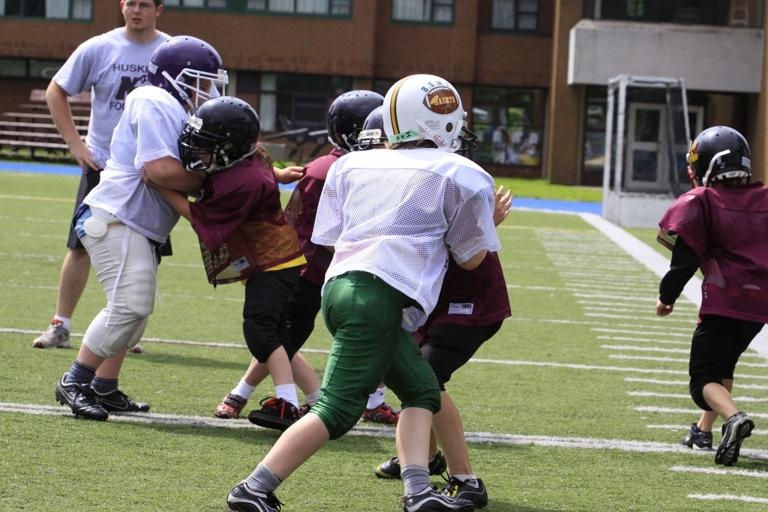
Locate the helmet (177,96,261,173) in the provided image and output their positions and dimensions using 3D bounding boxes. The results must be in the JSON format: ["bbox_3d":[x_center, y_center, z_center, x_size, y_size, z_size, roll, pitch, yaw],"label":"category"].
[{"bbox_3d":[-1.124,-0.869,7.368,0.611,0.451,0.441,-16,30,-43],"label":"helmet"}]

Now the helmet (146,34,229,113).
[{"bbox_3d":[-1.424,-1.333,7.744,0.620,0.484,0.470,3,18,-23],"label":"helmet"}]

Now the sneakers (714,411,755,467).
[{"bbox_3d":[2.347,1.234,7.234,0.208,0.386,0.128,7,13,17],"label":"sneakers"}]

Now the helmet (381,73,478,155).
[{"bbox_3d":[0.285,-0.912,6.810,0.499,0.474,0.692,6,10,37],"label":"helmet"}]

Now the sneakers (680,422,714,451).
[{"bbox_3d":[2.199,1.283,7.536,0.117,0.124,0.247,2,1,5],"label":"sneakers"}]

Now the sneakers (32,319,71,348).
[{"bbox_3d":[-2.662,0.643,8.744,0.326,0.203,0.175,5,-5,-30],"label":"sneakers"}]

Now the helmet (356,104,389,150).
[{"bbox_3d":[-0.045,-0.860,7.119,0.243,0.277,0.220,-11,-18,36],"label":"helmet"}]

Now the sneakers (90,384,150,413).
[{"bbox_3d":[-1.851,1.026,7.618,0.442,0.161,0.151,10,6,-21],"label":"sneakers"}]

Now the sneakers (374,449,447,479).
[{"bbox_3d":[0.149,1.360,6.987,0.485,0.195,0.166,2,-14,-9],"label":"sneakers"}]

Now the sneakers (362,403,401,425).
[{"bbox_3d":[-0.021,1.155,7.781,0.331,0.130,0.112,0,-6,8],"label":"sneakers"}]

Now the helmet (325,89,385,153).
[{"bbox_3d":[-0.255,-1.009,7.928,0.409,0.405,0.470,2,19,8],"label":"helmet"}]

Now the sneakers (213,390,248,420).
[{"bbox_3d":[-1.077,1.059,7.658,0.140,0.094,0.246,20,9,5],"label":"sneakers"}]
